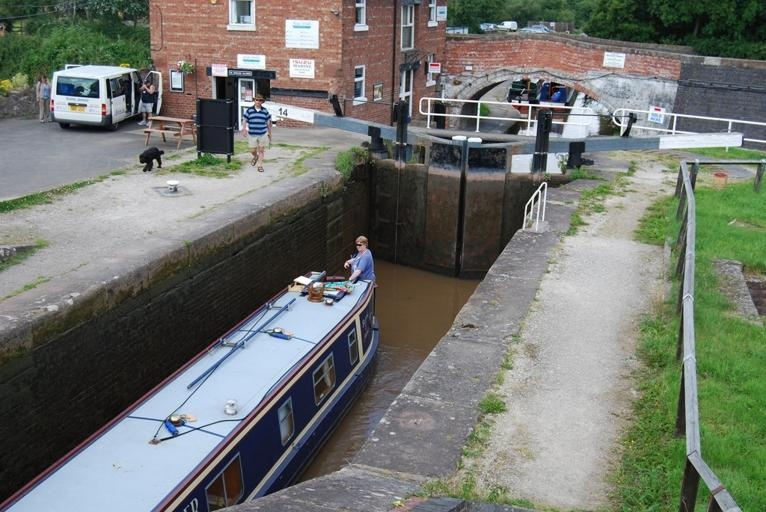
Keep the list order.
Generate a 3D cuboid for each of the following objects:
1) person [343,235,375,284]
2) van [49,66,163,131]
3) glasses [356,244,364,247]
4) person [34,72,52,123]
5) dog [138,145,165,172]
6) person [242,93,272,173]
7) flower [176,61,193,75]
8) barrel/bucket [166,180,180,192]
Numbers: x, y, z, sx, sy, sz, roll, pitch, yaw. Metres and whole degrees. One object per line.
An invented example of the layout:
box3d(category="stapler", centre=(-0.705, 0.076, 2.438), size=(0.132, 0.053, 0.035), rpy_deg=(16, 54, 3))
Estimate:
box3d(category="person", centre=(-0.671, 0.100, 16.635), size=(0.761, 1.422, 0.769), rpy_deg=(-6, 28, -19))
box3d(category="van", centre=(-9.627, -5.472, 23.079), size=(2.714, 1.267, 2.779), rpy_deg=(5, 31, 2))
box3d(category="glasses", centre=(-0.516, -0.243, 14.673), size=(0.135, 0.044, 0.143), rpy_deg=(1, -4, 43))
box3d(category="person", centre=(-11.915, -5.512, 23.413), size=(0.404, 1.533, 0.594), rpy_deg=(-6, 20, -23))
box3d(category="dog", centre=(-6.196, -2.583, 17.769), size=(0.401, 0.604, 0.765), rpy_deg=(4, 18, 5))
box3d(category="person", centre=(-3.385, -3.328, 17.913), size=(0.641, 2.013, 1.099), rpy_deg=(-1, 19, -9))
box3d(category="flower", centre=(-7.310, -6.951, 24.551), size=(0.661, 0.482, 0.422), rpy_deg=(4, 18, 3))
box3d(category="barrel/bucket", centre=(-5.100, -1.688, 16.094), size=(0.359, 0.261, 0.334), rpy_deg=(3, 19, -1))
